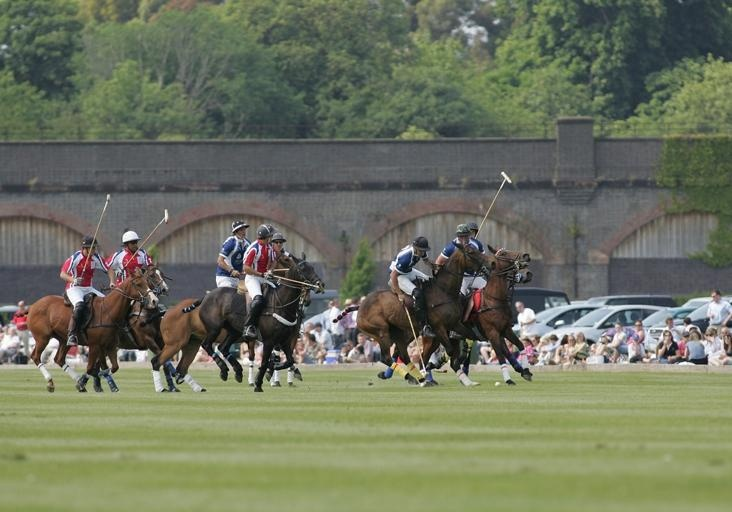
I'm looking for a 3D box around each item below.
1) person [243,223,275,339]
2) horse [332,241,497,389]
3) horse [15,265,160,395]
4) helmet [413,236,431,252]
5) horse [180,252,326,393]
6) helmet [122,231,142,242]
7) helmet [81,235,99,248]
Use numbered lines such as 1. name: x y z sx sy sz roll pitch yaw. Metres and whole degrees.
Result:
1. person: -4.083 0.985 82.245 1.352 3.944 1.010 -2 10 -5
2. horse: 2.007 1.966 83.086 4.347 6.343 2.261 0 -2 17
3. horse: -9.265 2.638 82.287 8.869 5.468 2.384 -6 -7 24
4. helmet: 2.017 -0.407 83.022 0.684 0.386 0.514 14 14 26
5. horse: -3.911 2.654 83.533 4.015 5.533 2.047 1 -2 5
6. helmet: -8.979 -0.636 82.797 0.558 0.445 0.452 0 -3 -14
7. helmet: -10.552 -0.486 82.907 0.526 0.419 0.489 0 -3 -13
